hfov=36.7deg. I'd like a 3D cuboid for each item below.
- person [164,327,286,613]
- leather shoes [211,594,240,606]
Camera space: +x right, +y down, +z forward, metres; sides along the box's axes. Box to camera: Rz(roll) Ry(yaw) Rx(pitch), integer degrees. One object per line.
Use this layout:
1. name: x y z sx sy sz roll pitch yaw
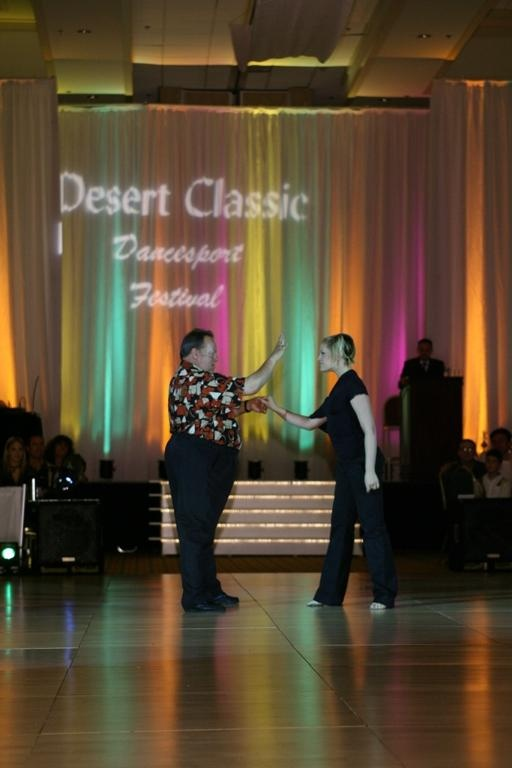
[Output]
1. person: -0.182 0.432 3.819 0.525 1.418 0.447 -1 -1 -7
2. leather shoes: -0.154 1.118 3.972 0.140 0.067 0.053 3 1 -10
